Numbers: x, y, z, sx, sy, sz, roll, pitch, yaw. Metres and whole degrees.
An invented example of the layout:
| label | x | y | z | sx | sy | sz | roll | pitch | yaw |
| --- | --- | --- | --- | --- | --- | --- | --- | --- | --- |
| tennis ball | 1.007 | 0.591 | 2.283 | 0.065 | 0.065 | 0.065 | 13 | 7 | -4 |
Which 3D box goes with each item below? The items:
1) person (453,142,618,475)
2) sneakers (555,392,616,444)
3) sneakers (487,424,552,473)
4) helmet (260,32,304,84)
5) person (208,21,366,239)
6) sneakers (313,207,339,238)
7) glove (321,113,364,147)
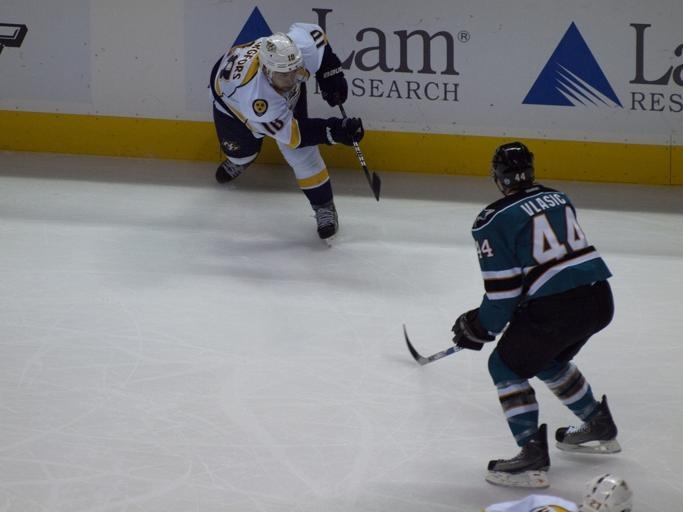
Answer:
| label | x | y | z | sx | sy | sz | roll | pitch | yaw |
| --- | --- | --- | --- | --- | --- | --- | --- | --- | --- |
| person | 0.922 | 0.257 | 3.937 | 0.775 | 1.501 | 0.600 | -5 | 17 | -4 |
| sneakers | 1.162 | 0.804 | 4.125 | 0.400 | 0.264 | 0.141 | -6 | 8 | 20 |
| sneakers | 0.781 | 0.905 | 3.994 | 0.399 | 0.254 | 0.126 | 0 | 2 | 3 |
| helmet | -0.385 | -1.221 | 5.257 | 0.244 | 0.273 | 0.296 | -29 | 45 | -32 |
| person | -0.401 | -0.866 | 5.794 | 0.886 | 1.389 | 1.137 | -7 | 17 | -12 |
| sneakers | -0.109 | -0.231 | 5.666 | 0.101 | 0.105 | 0.272 | -21 | 24 | 10 |
| glove | 0.009 | -0.804 | 5.379 | 0.227 | 0.081 | 0.156 | 11 | 56 | -3 |
